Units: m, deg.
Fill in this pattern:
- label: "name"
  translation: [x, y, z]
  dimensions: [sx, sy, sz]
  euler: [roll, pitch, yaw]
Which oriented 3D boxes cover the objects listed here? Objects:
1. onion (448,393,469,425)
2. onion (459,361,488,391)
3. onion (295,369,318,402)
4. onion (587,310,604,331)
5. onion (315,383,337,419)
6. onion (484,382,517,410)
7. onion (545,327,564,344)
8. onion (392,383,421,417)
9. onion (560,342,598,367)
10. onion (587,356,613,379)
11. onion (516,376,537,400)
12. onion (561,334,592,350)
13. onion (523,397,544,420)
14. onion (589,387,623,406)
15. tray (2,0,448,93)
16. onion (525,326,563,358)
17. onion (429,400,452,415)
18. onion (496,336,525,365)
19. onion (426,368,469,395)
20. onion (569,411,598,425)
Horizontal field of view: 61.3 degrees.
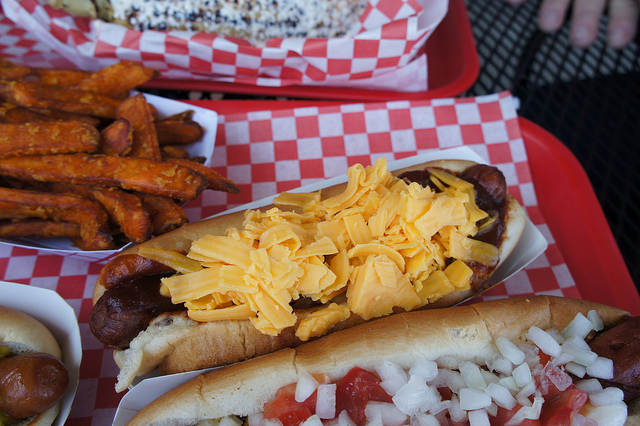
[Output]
- label: "onion"
  translation: [0.520, 0.744, 2.032]
  dimensions: [0.052, 0.031, 0.098]
  euler: [-16, 73, 2]
- label: "onion"
  translation: [0.588, 0.629, 2.074]
  dimensions: [0.066, 0.023, 0.095]
  euler: [-28, 58, -18]
- label: "onion"
  translation: [-0.056, 0.673, 2.064]
  dimensions: [0.076, 0.029, 0.111]
  euler: [20, 67, 5]
- label: "onion"
  translation: [1.139, 0.443, 2.245]
  dimensions: [0.063, 0.025, 0.082]
  euler: [-29, 106, -28]
- label: "onion"
  translation: [0.020, 0.711, 2.039]
  dimensions: [0.071, 0.027, 0.122]
  euler: [5, 66, -1]
- label: "onion"
  translation: [0.677, 0.695, 2.046]
  dimensions: [0.112, 0.031, 0.071]
  euler: [37, 58, 3]
- label: "onion"
  translation: [0.969, 0.507, 2.217]
  dimensions: [0.051, 0.015, 0.055]
  euler: [-25, 58, -22]
- label: "onion"
  translation: [0.317, 0.696, 2.005]
  dimensions: [0.091, 0.036, 0.117]
  euler: [-32, 69, -17]
- label: "onion"
  translation: [1.005, 0.541, 2.089]
  dimensions: [0.102, 0.026, 0.081]
  euler: [27, 30, 18]
- label: "onion"
  translation: [1.076, 0.594, 2.078]
  dimensions: [0.096, 0.029, 0.075]
  euler: [6, 66, -1]
- label: "onion"
  translation: [0.783, 0.659, 2.031]
  dimensions: [0.020, 0.066, 0.071]
  euler: [39, 40, -23]
- label: "onion"
  translation: [1.024, 0.511, 2.140]
  dimensions: [0.070, 0.019, 0.067]
  euler: [-20, 38, -29]
- label: "onion"
  translation: [0.796, 0.728, 2.003]
  dimensions: [0.055, 0.024, 0.097]
  euler: [40, 70, 13]
- label: "onion"
  translation: [1.069, 0.690, 2.021]
  dimensions: [0.104, 0.036, 0.057]
  euler: [-14, 59, 8]
- label: "tray"
  translation: [-0.577, -0.904, 2.994]
  dimensions: [1.553, 0.232, 0.987]
  euler: [5, 46, 5]
- label: "onion"
  translation: [0.886, 0.506, 2.124]
  dimensions: [0.073, 0.029, 0.120]
  euler: [-43, 49, -6]
- label: "onion"
  translation: [0.454, 0.730, 2.026]
  dimensions: [0.071, 0.042, 0.021]
  euler: [-26, 56, -2]
- label: "onion"
  translation: [0.744, 0.539, 2.116]
  dimensions: [0.064, 0.037, 0.094]
  euler: [-37, 55, -7]
- label: "onion"
  translation: [0.515, 0.679, 2.105]
  dimensions: [0.117, 0.072, 0.032]
  euler: [-16, 89, 32]
- label: "onion"
  translation: [0.952, 0.750, 1.983]
  dimensions: [0.057, 0.058, 0.020]
  euler: [7, 87, -15]
